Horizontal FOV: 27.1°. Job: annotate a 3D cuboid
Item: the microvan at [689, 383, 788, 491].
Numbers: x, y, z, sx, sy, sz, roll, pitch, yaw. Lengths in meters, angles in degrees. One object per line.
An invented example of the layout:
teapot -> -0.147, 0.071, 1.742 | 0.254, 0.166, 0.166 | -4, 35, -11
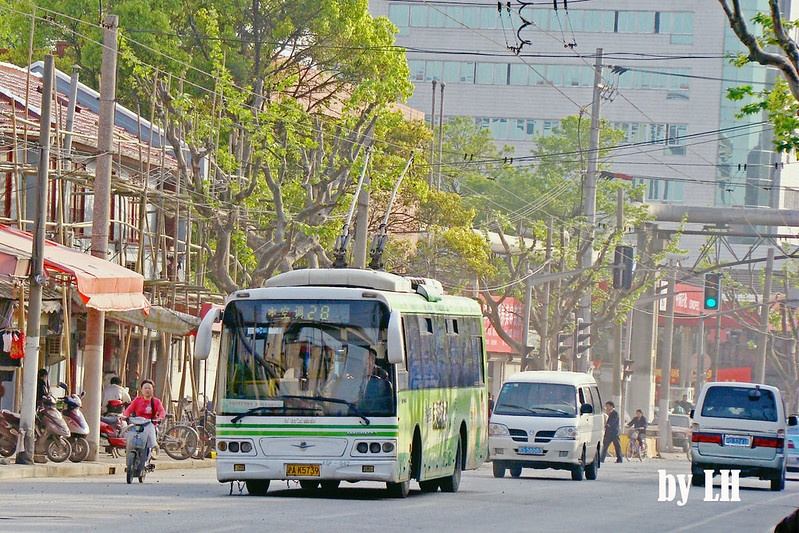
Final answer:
microvan -> 9.437, 4.503, 46.923 | 1.942, 1.832, 3.575 | 1, -13, 12

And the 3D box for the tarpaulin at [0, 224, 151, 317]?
tarpaulin -> -8.774, 0.150, 43.462 | 2.392, 1.343, 3.258 | 0, -7, 20

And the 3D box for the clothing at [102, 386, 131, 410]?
clothing -> -8.108, 3.635, 46.793 | 0.725, 0.532, 0.720 | -12, 10, 21

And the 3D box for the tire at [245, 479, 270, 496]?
tire -> -3.381, 5.147, 39.321 | 0.440, 0.430, 0.165 | 4, -15, -34

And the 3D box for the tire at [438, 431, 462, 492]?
tire -> 1.194, 4.763, 41.382 | 0.471, 1.408, 1.412 | -1, 9, 7

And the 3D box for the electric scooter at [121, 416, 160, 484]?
electric scooter -> -6.304, 4.404, 40.413 | 0.655, 1.609, 0.639 | 3, -9, -8

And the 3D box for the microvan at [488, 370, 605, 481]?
microvan -> 4.234, 4.495, 48.349 | 3.372, 3.256, 2.330 | 3, -10, -10

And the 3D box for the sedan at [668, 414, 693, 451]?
sedan -> 13.531, 7.821, 80.593 | 1.143, 0.975, 2.078 | 1, -16, 4

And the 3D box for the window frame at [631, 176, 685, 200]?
window frame -> 18.364, -5.756, 119.079 | 3.878, 1.048, 4.162 | 2, -6, 3

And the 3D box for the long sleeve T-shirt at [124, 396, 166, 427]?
long sleeve T-shirt -> -6.324, 3.499, 41.151 | 0.971, 0.947, 0.641 | 1, -36, 11

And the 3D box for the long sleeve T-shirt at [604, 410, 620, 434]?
long sleeve T-shirt -> 7.787, 5.628, 61.340 | 0.744, 1.056, 0.851 | 2, -4, 2

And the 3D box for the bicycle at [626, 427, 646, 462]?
bicycle -> 9.350, 7.178, 66.888 | 0.667, 0.865, 1.482 | -8, -15, 21
